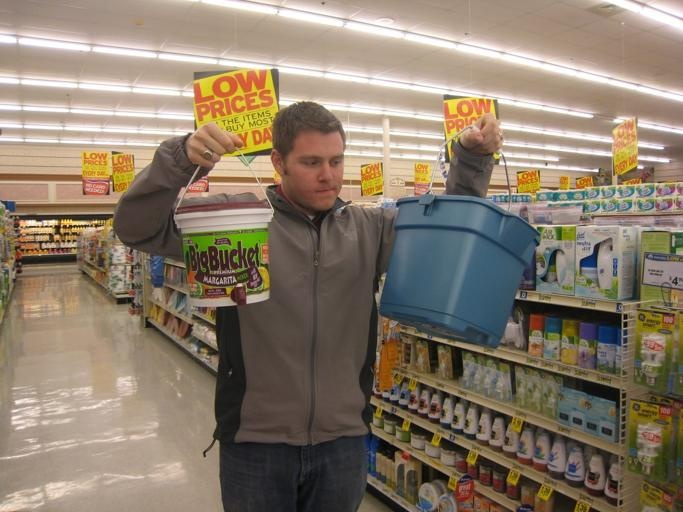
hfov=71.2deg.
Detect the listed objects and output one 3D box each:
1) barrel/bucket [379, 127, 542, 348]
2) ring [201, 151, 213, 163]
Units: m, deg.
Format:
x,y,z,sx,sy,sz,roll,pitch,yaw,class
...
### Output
x,y,z,sx,sy,sz,roll,pitch,yaw,class
0.469,0.056,1.926,0.611,0.612,0.372,2,7,19,barrel/bucket
-0.488,-0.357,1.725,0.032,0.033,0.031,0,1,0,ring
